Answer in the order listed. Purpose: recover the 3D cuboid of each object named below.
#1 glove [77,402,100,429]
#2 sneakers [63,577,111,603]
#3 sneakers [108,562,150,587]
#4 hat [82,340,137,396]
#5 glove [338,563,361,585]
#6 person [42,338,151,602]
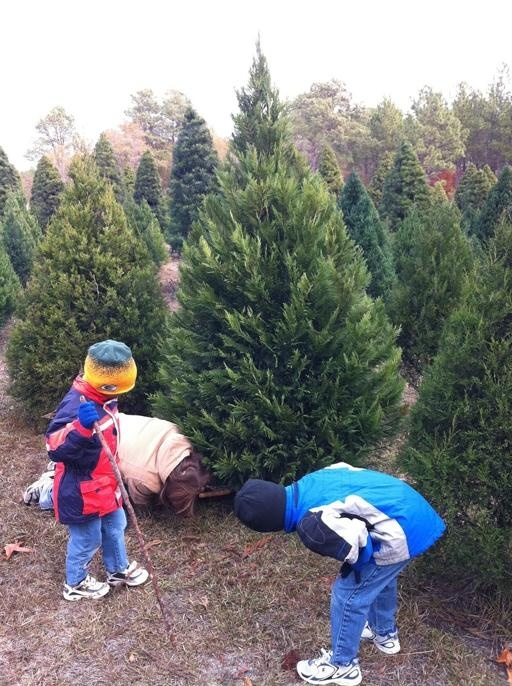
[{"bbox_3d":[-0.976,0.425,3.641,0.113,0.155,0.053,1,-15,-15],"label":"glove"},{"bbox_3d":[-1.120,1.654,4.177,0.310,0.165,0.123,-2,5,-13],"label":"sneakers"},{"bbox_3d":[-0.885,1.586,4.405,0.287,0.213,0.134,-5,15,-16],"label":"sneakers"},{"bbox_3d":[-0.928,0.145,3.985,0.306,0.285,0.336,-5,32,-29],"label":"hat"},{"bbox_3d":[0.507,1.264,3.467,0.075,0.115,0.122,9,28,-11],"label":"glove"},{"bbox_3d":[-1.027,0.860,4.037,0.527,1.760,0.642,4,14,8],"label":"person"}]
